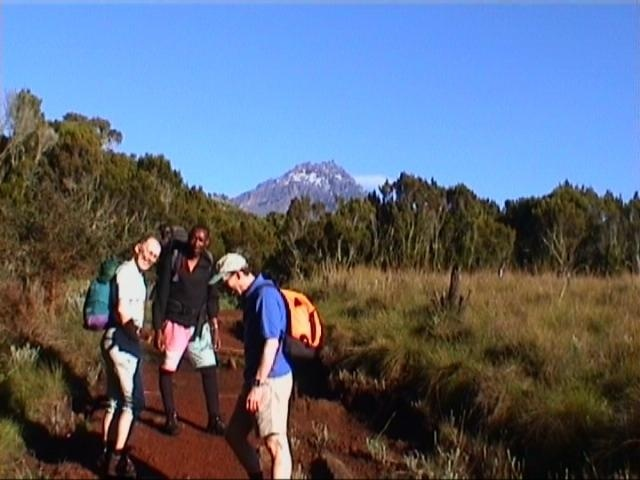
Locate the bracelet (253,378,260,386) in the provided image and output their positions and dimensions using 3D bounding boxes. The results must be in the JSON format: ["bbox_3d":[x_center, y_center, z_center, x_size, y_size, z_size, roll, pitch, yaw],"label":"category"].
[{"bbox_3d":[-0.611,1.363,5.661,0.043,0.077,0.061,13,-23,-33],"label":"bracelet"}]

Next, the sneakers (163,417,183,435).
[{"bbox_3d":[-1.954,2.468,7.799,0.171,0.319,0.160,5,15,21],"label":"sneakers"}]

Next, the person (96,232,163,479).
[{"bbox_3d":[-2.189,1.324,6.622,0.534,2.580,0.827,5,-3,-16],"label":"person"}]

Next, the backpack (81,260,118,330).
[{"bbox_3d":[-2.444,0.633,6.524,0.216,0.816,0.374,3,-3,40],"label":"backpack"}]

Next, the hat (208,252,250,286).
[{"bbox_3d":[-0.929,0.262,5.954,0.320,0.226,0.249,-25,4,-10],"label":"hat"}]

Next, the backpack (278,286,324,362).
[{"bbox_3d":[-0.201,0.829,5.946,0.217,0.709,0.416,-12,-4,44],"label":"backpack"}]

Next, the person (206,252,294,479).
[{"bbox_3d":[-0.611,1.307,5.883,0.815,1.756,0.447,4,-3,22],"label":"person"}]
